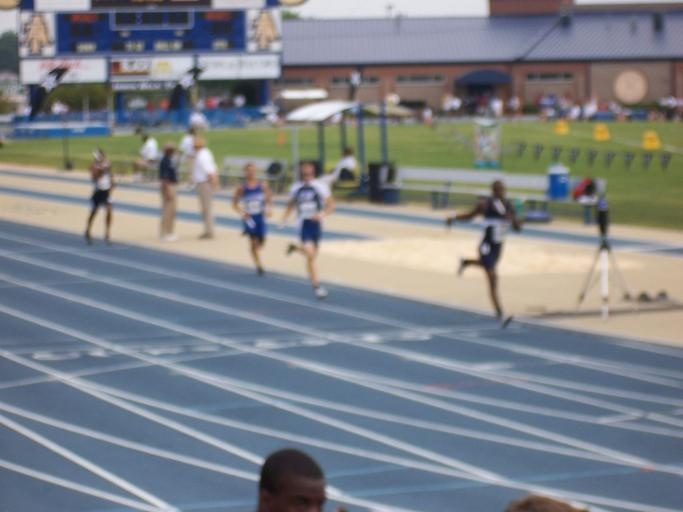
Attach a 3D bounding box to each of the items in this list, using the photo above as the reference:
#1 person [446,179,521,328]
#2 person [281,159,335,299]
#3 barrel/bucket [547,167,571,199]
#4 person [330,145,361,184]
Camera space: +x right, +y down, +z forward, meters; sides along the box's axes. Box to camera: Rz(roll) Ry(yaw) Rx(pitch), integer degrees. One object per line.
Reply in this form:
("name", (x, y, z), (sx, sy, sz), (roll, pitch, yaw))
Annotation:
("person", (2.392, -0.074, 19.736), (0.915, 2.347, 1.305), (-2, 7, -8))
("person", (-0.539, -0.462, 20.941), (0.922, 2.348, 0.426), (5, 9, 38))
("barrel/bucket", (5.139, -1.755, 28.573), (0.659, 1.022, 0.680), (-1, 7, 0))
("person", (0.141, -2.452, 32.373), (0.716, 0.975, 2.075), (-1, 8, 1))
